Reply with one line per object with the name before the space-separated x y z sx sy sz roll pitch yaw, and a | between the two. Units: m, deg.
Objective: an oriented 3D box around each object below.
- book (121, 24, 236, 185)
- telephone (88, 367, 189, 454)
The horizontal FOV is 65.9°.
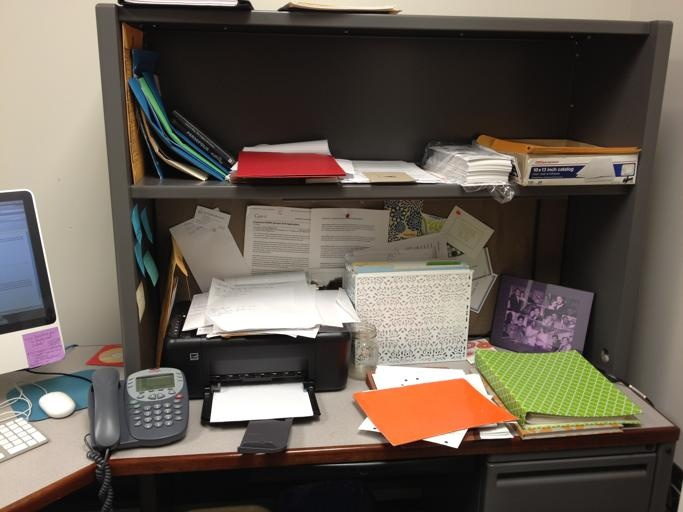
book | -0.455 -0.433 1.498 0.269 0.416 0.313 -5 19 -10
telephone | -0.530 0.386 1.380 0.237 0.088 0.258 2 27 -14
